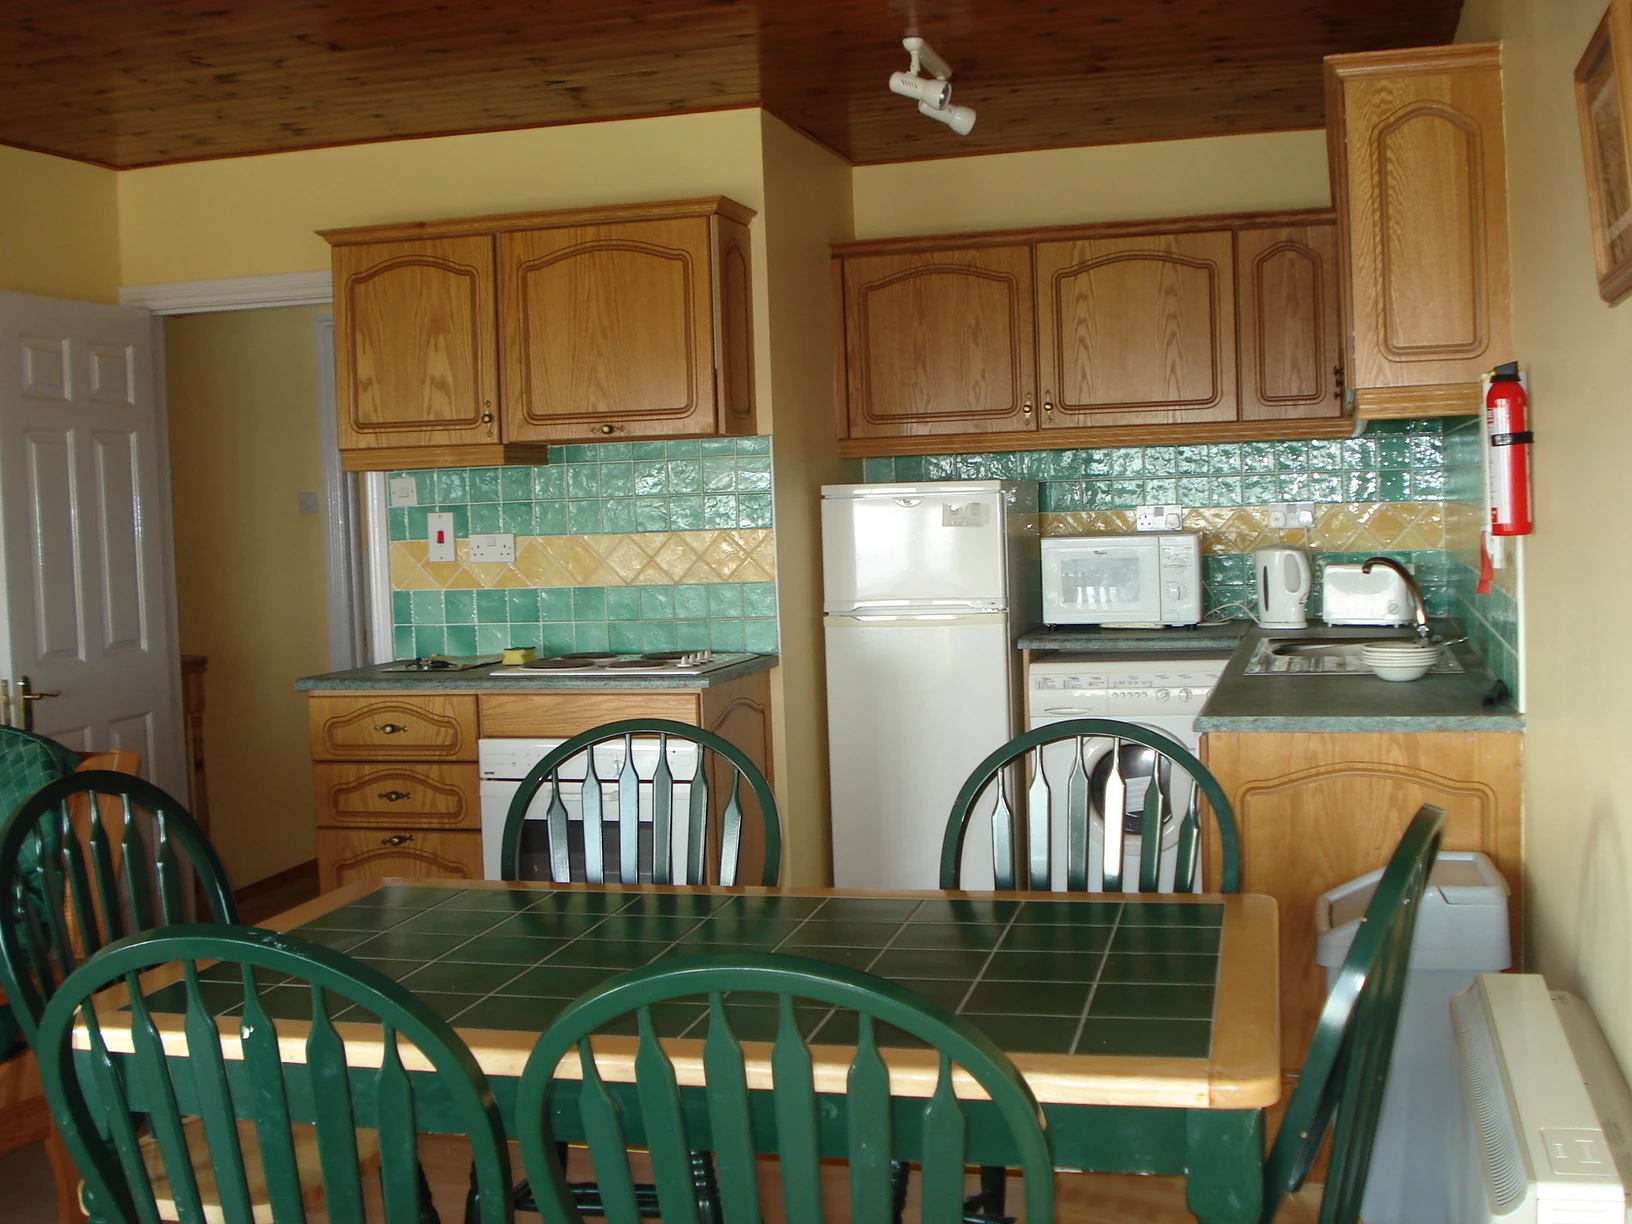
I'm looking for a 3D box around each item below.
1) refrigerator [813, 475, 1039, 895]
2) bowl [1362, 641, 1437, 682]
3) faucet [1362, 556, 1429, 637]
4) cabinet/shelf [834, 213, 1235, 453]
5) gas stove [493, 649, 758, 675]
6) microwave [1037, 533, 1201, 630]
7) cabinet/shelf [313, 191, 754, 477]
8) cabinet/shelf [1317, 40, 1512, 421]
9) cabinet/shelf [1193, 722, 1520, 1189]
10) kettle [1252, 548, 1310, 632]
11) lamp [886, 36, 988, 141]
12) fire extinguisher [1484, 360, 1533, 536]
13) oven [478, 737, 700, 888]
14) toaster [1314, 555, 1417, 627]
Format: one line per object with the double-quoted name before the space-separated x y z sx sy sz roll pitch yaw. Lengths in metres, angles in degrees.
"refrigerator" 0.467 0.323 5.069 0.812 1.586 0.681 -2 6 8
"bowl" 1.549 0.132 3.491 0.176 0.109 0.192 -3 7 0
"faucet" 2.004 -0.045 4.586 0.142 0.333 0.046 -12 47 35
"cabinet/shelf" 0.928 -1.067 5.185 1.692 0.870 0.479 -3 14 -2
"gas stove" -0.679 0.168 4.416 0.902 0.047 0.523 -1 7 16
"microwave" 1.139 -0.109 4.927 0.603 0.366 0.360 0 -1 14
"cabinet/shelf" -0.971 -0.942 4.665 1.575 0.839 0.452 2 7 21
"cabinet/shelf" 1.455 -0.913 3.184 0.402 0.860 0.145 0 8 25
"cabinet/shelf" 1.399 0.630 3.427 0.632 1.063 0.564 0 25 22
"kettle" 1.706 -0.087 4.835 0.173 0.293 0.164 -1 7 17
"lamp" 0.295 -1.352 3.379 0.186 0.254 0.351 -2 7 6
"fire extinguisher" 1.488 -0.349 2.835 0.092 0.369 0.216 0 8 27
"oven" -0.823 0.720 4.363 0.510 0.347 0.535 3 -19 34
"toaster" 1.888 -0.084 4.526 0.270 0.188 0.265 1 5 14
